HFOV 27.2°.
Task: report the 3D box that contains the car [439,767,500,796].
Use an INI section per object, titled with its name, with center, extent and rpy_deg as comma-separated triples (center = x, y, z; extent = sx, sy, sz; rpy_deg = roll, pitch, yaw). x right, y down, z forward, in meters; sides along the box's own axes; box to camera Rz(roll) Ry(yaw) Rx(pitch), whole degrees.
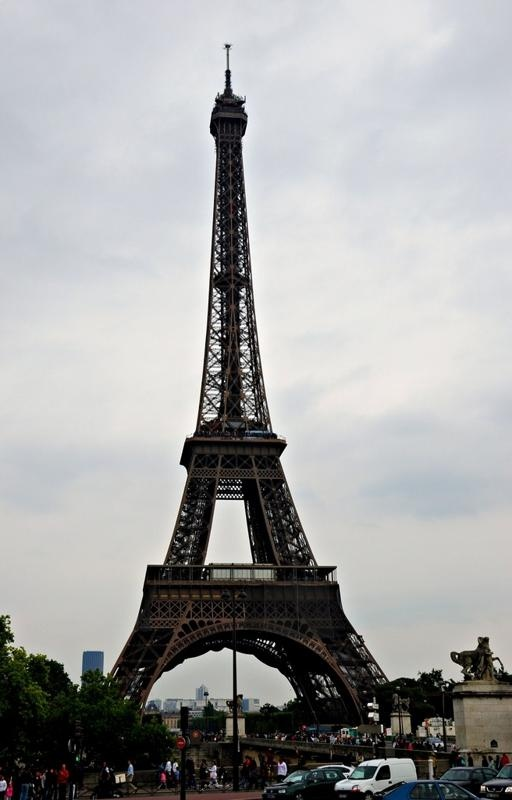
[car]
center = 6.575, 11.838, 32.489
extent = 1.703, 0.727, 0.992
rpy_deg = 27, -43, -30
